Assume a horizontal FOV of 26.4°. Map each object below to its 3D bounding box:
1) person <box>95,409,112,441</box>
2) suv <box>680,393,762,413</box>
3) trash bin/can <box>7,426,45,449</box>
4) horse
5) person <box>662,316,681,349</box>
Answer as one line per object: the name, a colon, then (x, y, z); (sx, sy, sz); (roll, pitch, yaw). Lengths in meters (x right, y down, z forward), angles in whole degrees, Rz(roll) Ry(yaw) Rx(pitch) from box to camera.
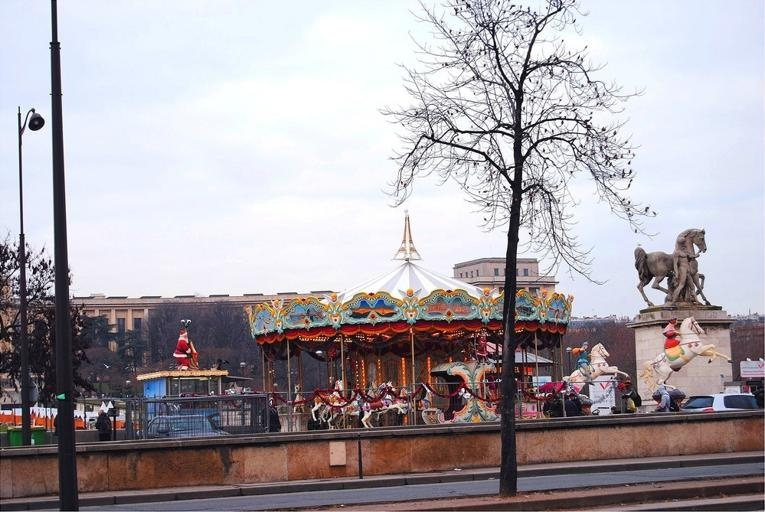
person: (-11.506, 6.976, 67.145); (0.570, 1.350, 3.078); (-1, -8, -10)
suv: (13.287, 5.786, 64.212); (2.061, 0.762, 1.139); (-4, 3, -24)
trash bin/can: (-14.100, 7.211, 64.454); (0.964, 1.649, 1.012); (-7, -10, 25)
horse: (11.424, 0.556, 63.330); (3.008, 3.524, 1.004); (0, -3, 23)
person: (12.033, 3.256, 68.452); (0.677, 1.318, 1.647); (-4, -7, 9)
